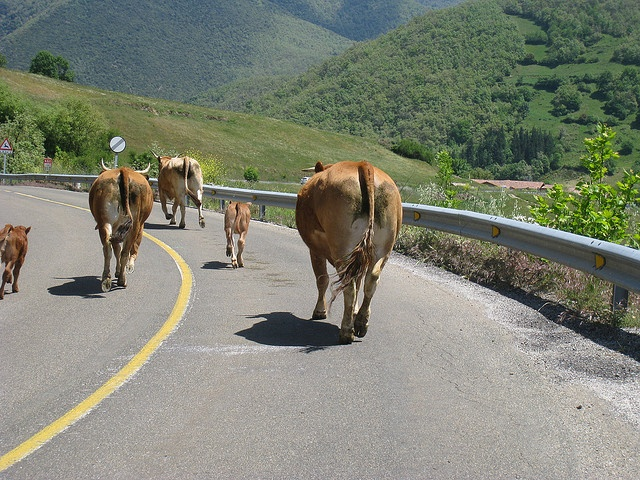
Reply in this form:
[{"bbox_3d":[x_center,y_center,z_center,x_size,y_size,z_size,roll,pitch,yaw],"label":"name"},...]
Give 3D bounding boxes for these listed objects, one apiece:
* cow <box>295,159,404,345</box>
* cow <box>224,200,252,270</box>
[{"bbox_3d":[0.410,0.120,8.131,0.927,2.371,1.454,-3,8,-23],"label":"cow"},{"bbox_3d":[-1.932,-0.227,13.827,0.529,1.381,2.318,-1,8,-9],"label":"cow"}]
